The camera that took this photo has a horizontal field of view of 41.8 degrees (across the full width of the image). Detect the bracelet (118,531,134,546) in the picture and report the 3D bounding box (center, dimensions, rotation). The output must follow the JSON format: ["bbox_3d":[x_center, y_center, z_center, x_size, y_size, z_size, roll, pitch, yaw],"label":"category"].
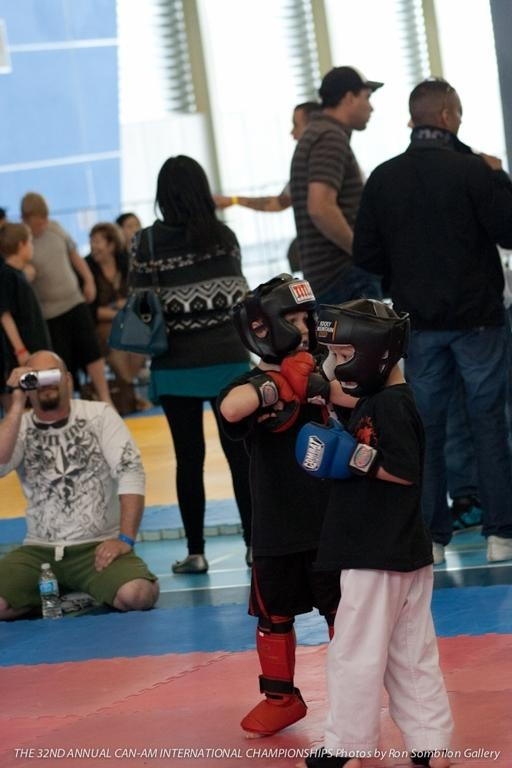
[{"bbox_3d":[-0.534,0.649,2.795,0.063,0.054,0.026,30,79,39],"label":"bracelet"}]

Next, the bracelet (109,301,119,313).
[{"bbox_3d":[-1.351,-0.735,6.370,0.091,0.083,0.022,-1,5,28],"label":"bracelet"}]

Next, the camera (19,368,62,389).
[{"bbox_3d":[-0.870,-0.019,2.707,0.167,0.078,0.126,-5,-5,-16],"label":"camera"}]

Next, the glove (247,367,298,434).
[{"bbox_3d":[0.043,0.037,1.411,0.101,0.128,0.056,-42,21,-20],"label":"glove"}]

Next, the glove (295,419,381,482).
[{"bbox_3d":[0.149,0.117,1.166,0.128,0.085,0.058,6,24,28],"label":"glove"}]

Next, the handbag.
[{"bbox_3d":[-0.546,-0.394,2.977,0.254,0.562,0.206,-7,-5,-12],"label":"handbag"}]

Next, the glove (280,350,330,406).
[{"bbox_3d":[0.098,-0.018,1.424,0.053,0.113,0.084,-46,28,6],"label":"glove"}]

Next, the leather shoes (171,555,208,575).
[{"bbox_3d":[-0.319,0.856,3.202,0.161,0.063,0.088,1,-1,35],"label":"leather shoes"}]

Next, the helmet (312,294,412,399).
[{"bbox_3d":[0.197,-0.071,1.295,0.191,0.182,0.161,-7,13,-31],"label":"helmet"}]
